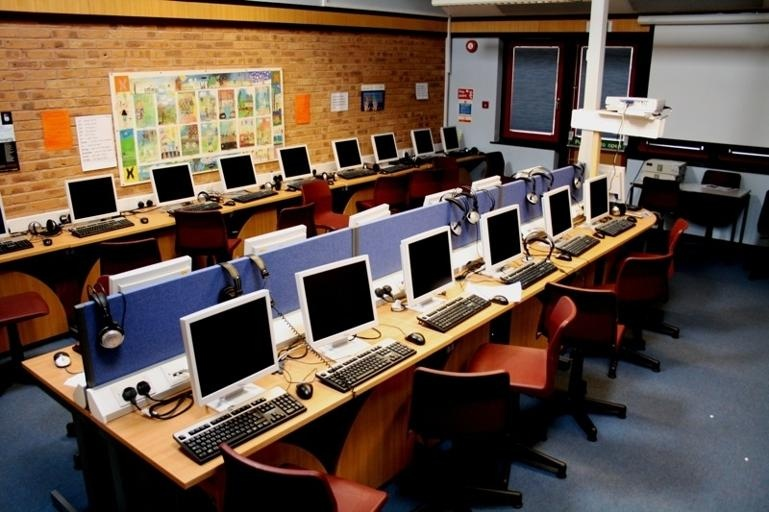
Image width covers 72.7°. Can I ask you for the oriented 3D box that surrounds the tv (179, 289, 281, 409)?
[{"bbox_3d":[-0.979,0.597,3.235,0.213,0.594,0.578,16,28,42],"label":"tv"}]

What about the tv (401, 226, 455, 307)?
[{"bbox_3d":[0.345,0.111,4.243,0.185,0.543,0.527,12,29,41],"label":"tv"}]

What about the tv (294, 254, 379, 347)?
[{"bbox_3d":[-0.363,0.340,3.715,0.577,0.488,0.114,-20,20,-37],"label":"tv"}]

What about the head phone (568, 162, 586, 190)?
[{"bbox_3d":[2.424,-0.998,6.514,0.256,0.347,0.129,-6,5,-37],"label":"head phone"}]

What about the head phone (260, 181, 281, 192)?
[{"bbox_3d":[-1.568,-0.941,7.158,0.194,0.049,0.196,16,22,40],"label":"head phone"}]

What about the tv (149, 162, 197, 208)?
[{"bbox_3d":[-2.607,-0.839,6.336,0.488,0.416,0.078,-25,23,-32],"label":"tv"}]

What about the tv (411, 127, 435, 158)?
[{"bbox_3d":[0.641,-1.935,9.041,0.193,0.527,0.549,-1,19,46],"label":"tv"}]

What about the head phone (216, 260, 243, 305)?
[{"bbox_3d":[-1.046,0.188,3.484,0.115,0.283,0.249,-8,14,-38],"label":"head phone"}]

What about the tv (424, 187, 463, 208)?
[{"bbox_3d":[0.533,-0.560,4.998,0.256,0.069,0.270,-28,26,-30],"label":"tv"}]

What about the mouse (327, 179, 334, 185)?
[{"bbox_3d":[-0.785,-1.043,7.435,0.108,0.032,0.105,-3,33,-7],"label":"mouse"}]

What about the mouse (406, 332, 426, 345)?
[{"bbox_3d":[0.235,0.605,3.847,0.078,0.038,0.120,-11,22,-42],"label":"mouse"}]

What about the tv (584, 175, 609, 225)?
[{"bbox_3d":[2.447,-0.627,6.019,0.073,0.390,0.556,5,15,40],"label":"tv"}]

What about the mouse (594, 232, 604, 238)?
[{"bbox_3d":[2.386,-0.226,5.783,0.063,0.032,0.100,-20,27,-31],"label":"mouse"}]

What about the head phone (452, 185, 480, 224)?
[{"bbox_3d":[0.800,-0.493,5.073,0.129,0.352,0.272,-13,55,31],"label":"head phone"}]

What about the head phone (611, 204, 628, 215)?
[{"bbox_3d":[2.894,-0.560,6.414,0.140,0.149,0.160,4,6,34],"label":"head phone"}]

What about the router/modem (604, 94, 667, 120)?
[{"bbox_3d":[2.795,-1.646,5.833,0.587,0.215,0.273,8,21,24],"label":"router/modem"}]

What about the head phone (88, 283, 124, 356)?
[{"bbox_3d":[-1.729,0.387,3.280,0.151,0.345,0.401,-10,8,-24],"label":"head phone"}]

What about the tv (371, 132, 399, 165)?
[{"bbox_3d":[-0.022,-1.731,8.503,0.504,0.471,0.173,-28,30,-37],"label":"tv"}]

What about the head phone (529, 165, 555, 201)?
[{"bbox_3d":[1.799,-0.846,6.051,0.273,0.349,0.155,-2,11,-32],"label":"head phone"}]

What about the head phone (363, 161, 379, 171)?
[{"bbox_3d":[-0.199,-1.402,8.295,0.209,0.050,0.229,20,27,40],"label":"head phone"}]

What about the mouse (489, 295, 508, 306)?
[{"bbox_3d":[0.971,0.372,4.368,0.104,0.033,0.065,9,17,41],"label":"mouse"}]

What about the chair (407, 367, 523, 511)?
[{"bbox_3d":[0.569,1.176,3.717,0.810,1.126,0.619,-2,19,-1],"label":"chair"}]

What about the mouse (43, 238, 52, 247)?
[{"bbox_3d":[-3.369,-0.134,5.191,0.098,0.050,0.070,14,17,42],"label":"mouse"}]

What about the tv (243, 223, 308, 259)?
[{"bbox_3d":[-0.899,-0.121,4.287,0.386,0.200,0.083,-17,27,-37],"label":"tv"}]

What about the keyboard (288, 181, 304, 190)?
[{"bbox_3d":[-1.236,-0.963,7.238,0.156,0.051,0.220,-16,32,-31],"label":"keyboard"}]

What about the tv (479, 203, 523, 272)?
[{"bbox_3d":[1.076,-0.143,4.840,0.063,0.493,0.594,4,18,42],"label":"tv"}]

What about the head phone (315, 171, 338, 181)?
[{"bbox_3d":[-0.869,-1.158,7.663,0.244,0.064,0.232,10,17,30],"label":"head phone"}]

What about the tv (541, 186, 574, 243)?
[{"bbox_3d":[1.822,-0.418,5.509,0.067,0.482,0.636,-3,5,35],"label":"tv"}]

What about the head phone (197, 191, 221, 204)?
[{"bbox_3d":[-2.232,-0.730,6.595,0.286,0.100,0.170,9,20,17],"label":"head phone"}]

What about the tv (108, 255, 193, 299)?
[{"bbox_3d":[-1.522,0.122,3.405,0.510,0.129,0.089,-16,24,-35],"label":"tv"}]

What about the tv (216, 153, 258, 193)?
[{"bbox_3d":[-1.984,-1.076,6.892,0.467,0.408,0.167,-23,23,-40],"label":"tv"}]

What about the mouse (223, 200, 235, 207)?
[{"bbox_3d":[-1.932,-0.643,6.483,0.108,0.034,0.092,10,20,27],"label":"mouse"}]

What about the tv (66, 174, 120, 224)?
[{"bbox_3d":[-3.227,-0.607,5.697,0.515,0.426,0.035,-16,15,-41],"label":"tv"}]

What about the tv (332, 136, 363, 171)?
[{"bbox_3d":[-0.601,-1.561,8.074,0.501,0.471,0.044,-25,18,-32],"label":"tv"}]

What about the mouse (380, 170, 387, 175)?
[{"bbox_3d":[-0.027,-1.289,8.106,0.084,0.019,0.074,3,42,-5],"label":"mouse"}]

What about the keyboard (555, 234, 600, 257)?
[{"bbox_3d":[2.008,-0.113,5.419,0.460,0.087,0.211,-25,35,-34],"label":"keyboard"}]

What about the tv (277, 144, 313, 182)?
[{"bbox_3d":[-1.315,-1.311,7.473,0.564,0.534,0.056,-19,14,-39],"label":"tv"}]

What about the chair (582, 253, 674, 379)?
[{"bbox_3d":[2.304,0.599,4.934,0.811,1.063,0.756,-11,30,-8],"label":"chair"}]
